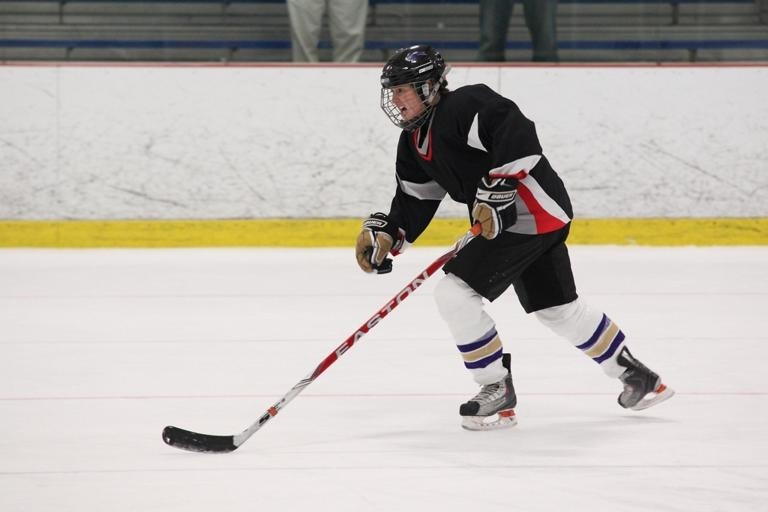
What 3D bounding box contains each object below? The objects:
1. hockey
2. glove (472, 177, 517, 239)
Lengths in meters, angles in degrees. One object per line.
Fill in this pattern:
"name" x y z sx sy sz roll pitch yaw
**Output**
"hockey" -0.282 0.398 4.791 0.326 2.433 0.209 55 37 6
"glove" 0.508 -0.216 4.673 0.213 0.284 0.094 -1 15 -12
